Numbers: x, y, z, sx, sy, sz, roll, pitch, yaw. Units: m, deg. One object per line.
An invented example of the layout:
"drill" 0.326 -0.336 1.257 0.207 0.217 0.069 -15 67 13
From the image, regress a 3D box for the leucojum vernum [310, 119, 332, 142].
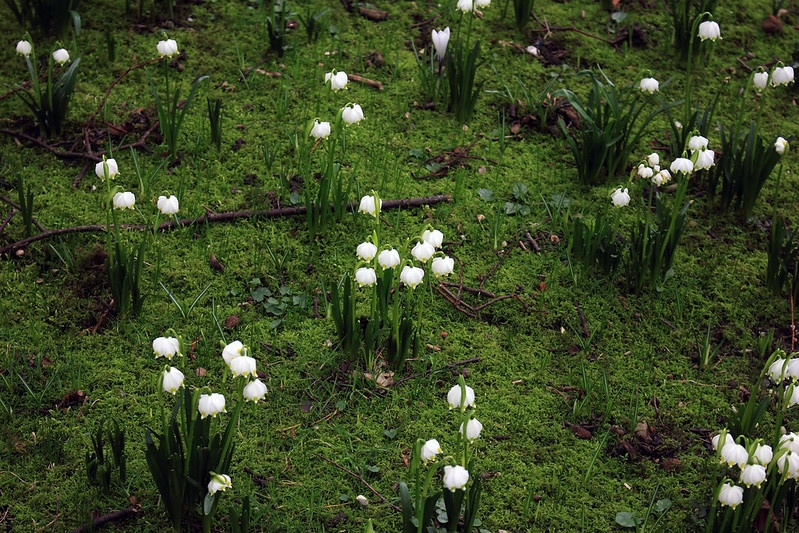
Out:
"leucojum vernum" -0.524 -0.928 5.711 0.125 0.157 0.140 -2 28 -7

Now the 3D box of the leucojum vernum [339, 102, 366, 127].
"leucojum vernum" -0.315 -1.024 5.656 0.122 0.160 0.127 -5 28 -13

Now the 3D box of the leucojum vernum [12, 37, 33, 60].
"leucojum vernum" -2.723 -1.592 6.271 0.103 0.167 0.280 -10 31 -21

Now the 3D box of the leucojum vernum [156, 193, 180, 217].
"leucojum vernum" -1.449 -0.376 5.394 0.117 0.182 0.164 -8 30 -18

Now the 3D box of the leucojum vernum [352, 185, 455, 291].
"leucojum vernum" 0.045 -0.083 5.209 0.565 0.603 0.588 23 26 28
